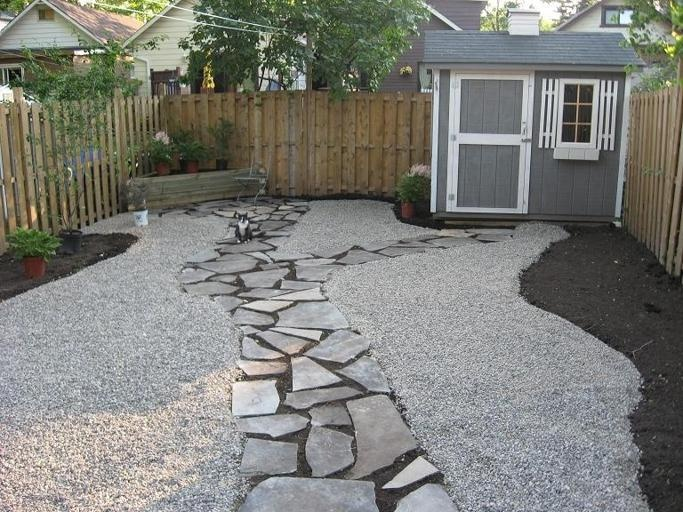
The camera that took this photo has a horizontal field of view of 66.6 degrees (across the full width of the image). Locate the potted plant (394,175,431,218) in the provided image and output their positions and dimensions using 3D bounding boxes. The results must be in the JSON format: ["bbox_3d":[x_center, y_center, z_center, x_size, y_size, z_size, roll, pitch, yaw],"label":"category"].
[{"bbox_3d":[1.540,-1.331,11.332,0.762,0.931,0.890,3,18,9],"label":"potted plant"}]

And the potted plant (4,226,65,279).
[{"bbox_3d":[-4.425,-0.106,7.485,0.746,0.717,0.728,0,8,-8],"label":"potted plant"}]

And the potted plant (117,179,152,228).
[{"bbox_3d":[-4.277,-1.083,10.704,0.652,0.998,0.505,10,19,30],"label":"potted plant"}]

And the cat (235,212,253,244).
[{"bbox_3d":[-1.753,-0.504,9.295,0.285,0.474,0.400,-2,13,-12],"label":"cat"}]

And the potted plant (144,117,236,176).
[{"bbox_3d":[-3.889,-2.724,13.304,1.807,1.002,1.438,-10,23,-24],"label":"potted plant"}]
